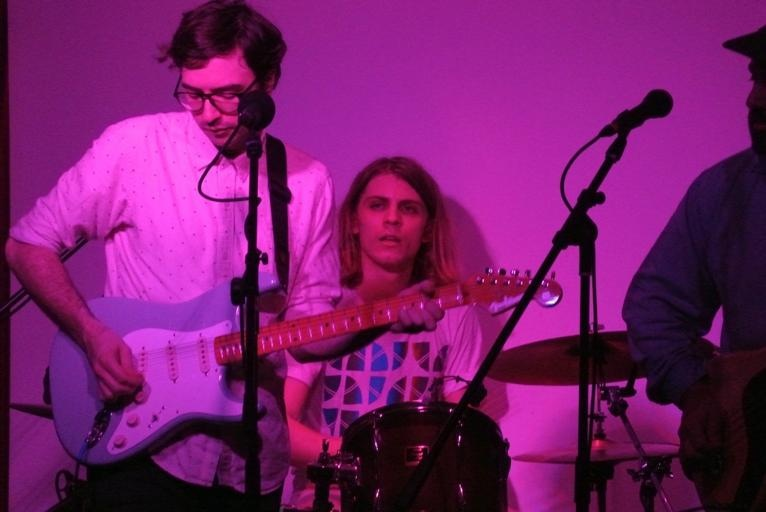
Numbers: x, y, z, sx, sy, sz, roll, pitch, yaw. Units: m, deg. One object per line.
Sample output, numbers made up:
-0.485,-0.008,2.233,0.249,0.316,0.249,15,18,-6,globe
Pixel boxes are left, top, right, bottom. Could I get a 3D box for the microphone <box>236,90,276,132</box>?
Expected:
-0.549,-0.614,3.530,0.146,0.198,0.120,4,-7,-23,microphone
